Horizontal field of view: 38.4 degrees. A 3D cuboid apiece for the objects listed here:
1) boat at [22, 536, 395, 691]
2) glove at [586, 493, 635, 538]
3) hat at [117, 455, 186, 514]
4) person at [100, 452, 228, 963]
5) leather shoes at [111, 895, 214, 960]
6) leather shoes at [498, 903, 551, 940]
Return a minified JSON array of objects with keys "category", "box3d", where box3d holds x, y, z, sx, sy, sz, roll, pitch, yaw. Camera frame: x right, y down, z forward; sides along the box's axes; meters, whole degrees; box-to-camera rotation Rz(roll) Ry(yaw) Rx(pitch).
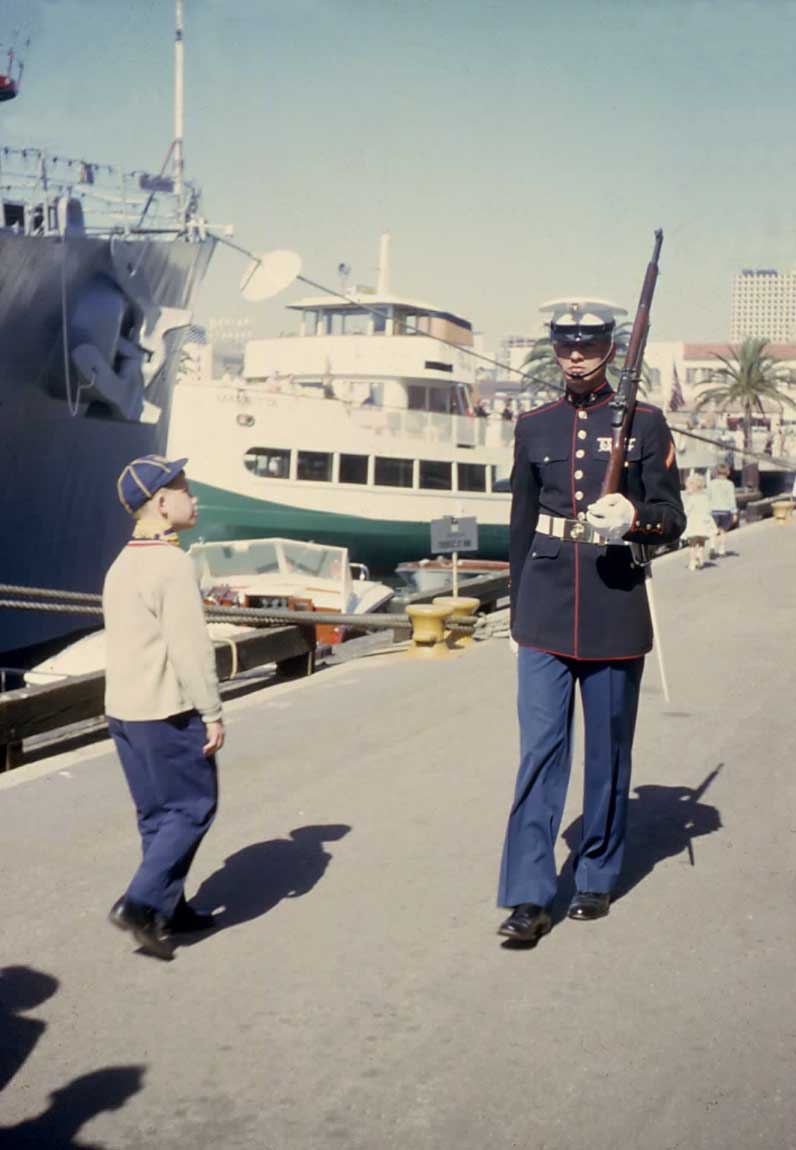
[{"category":"boat","box3d":[-2.058,0.553,15.923,1.990,1.755,6.065,9,14,33]},{"category":"glove","box3d":[0.613,-0.159,3.267,0.111,0.104,0.135,0,-3,-2]},{"category":"hat","box3d":[-0.709,-0.236,3.292,0.113,0.205,0.148,48,2,-27]},{"category":"person","box3d":[-0.665,0.380,3.251,0.324,1.412,0.386,-2,4,-13]},{"category":"leather shoes","box3d":[-0.675,1.007,3.269,0.117,0.158,0.380,13,7,40]},{"category":"leather shoes","box3d":[0.359,1.032,3.284,0.068,0.075,0.161,-6,-15,30]}]
